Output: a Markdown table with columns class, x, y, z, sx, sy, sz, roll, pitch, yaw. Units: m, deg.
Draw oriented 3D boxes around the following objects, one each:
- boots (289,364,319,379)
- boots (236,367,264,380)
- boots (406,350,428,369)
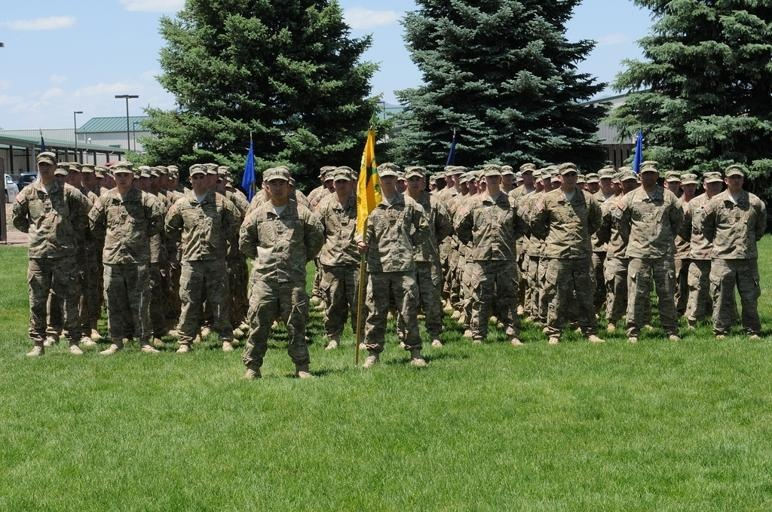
| class | x | y | z | sx | sy | sz | roll | pitch | yaw |
| --- | --- | --- | --- | --- | --- | --- | --- | --- | --- |
| boots | -1.745 | 2.455 | 27.642 | 0.567 | 0.356 | 0.202 | -1 | -1 | 7 |
| boots | -2.857 | 2.495 | 27.597 | 0.439 | 0.289 | 0.180 | 5 | -7 | -17 |
| boots | 0.674 | 2.232 | 28.222 | 0.345 | 0.366 | 0.359 | -3 | -15 | -10 |
